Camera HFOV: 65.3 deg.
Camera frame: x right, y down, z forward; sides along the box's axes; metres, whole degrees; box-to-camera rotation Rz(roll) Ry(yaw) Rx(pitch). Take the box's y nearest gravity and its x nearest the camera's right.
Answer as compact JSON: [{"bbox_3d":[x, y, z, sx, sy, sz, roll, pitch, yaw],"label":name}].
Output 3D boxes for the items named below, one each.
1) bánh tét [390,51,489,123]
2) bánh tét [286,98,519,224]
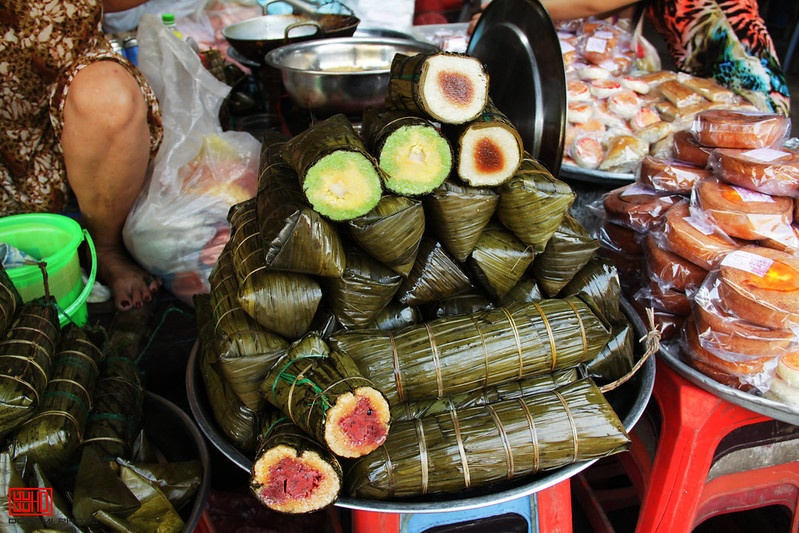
[{"bbox_3d":[0.191,-0.821,2.912,0.335,0.290,0.446,9,11,-41],"label":"bánh tét"},{"bbox_3d":[0.015,-0.508,3.017,1.074,0.438,0.438,-9,26,-14],"label":"bánh tét"}]
